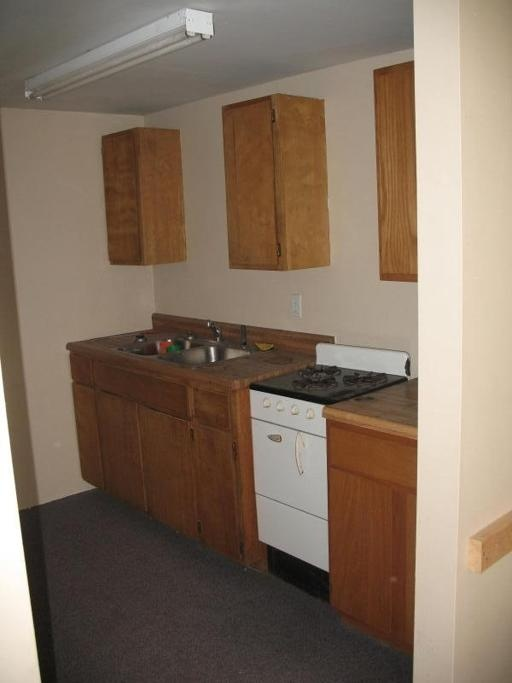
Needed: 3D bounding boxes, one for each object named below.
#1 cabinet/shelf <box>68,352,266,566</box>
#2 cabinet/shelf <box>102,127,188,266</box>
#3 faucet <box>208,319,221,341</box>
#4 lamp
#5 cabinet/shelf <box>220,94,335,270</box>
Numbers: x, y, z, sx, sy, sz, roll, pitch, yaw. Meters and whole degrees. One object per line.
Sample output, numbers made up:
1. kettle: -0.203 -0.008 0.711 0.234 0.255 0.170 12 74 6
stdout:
1. cabinet/shelf: -0.449 0.628 2.952 0.332 0.621 0.936 -6 10 -43
2. cabinet/shelf: -0.756 -0.940 3.664 0.468 0.858 0.304 8 13 41
3. faucet: -0.267 -0.068 3.575 0.071 0.121 0.200 -6 8 -18
4. lamp: -0.587 -1.144 2.280 0.174 0.167 1.242 -11 11 -44
5. cabinet/shelf: 0.095 -0.763 2.703 0.516 0.820 0.318 -3 7 1
